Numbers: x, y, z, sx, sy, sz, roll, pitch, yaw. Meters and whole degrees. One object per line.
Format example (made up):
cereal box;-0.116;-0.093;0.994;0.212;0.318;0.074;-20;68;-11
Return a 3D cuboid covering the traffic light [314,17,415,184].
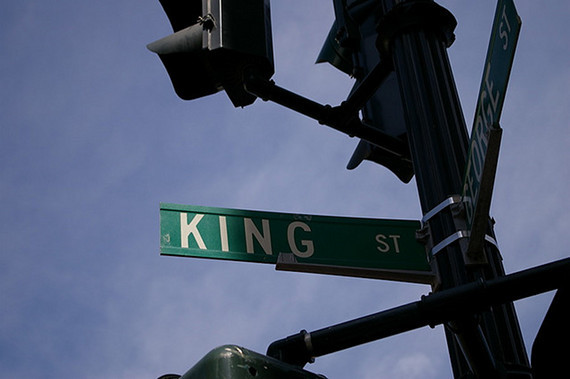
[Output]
traffic light;0.850;-0.885;8.192;0.759;1.766;0.469;-20;-48;21
